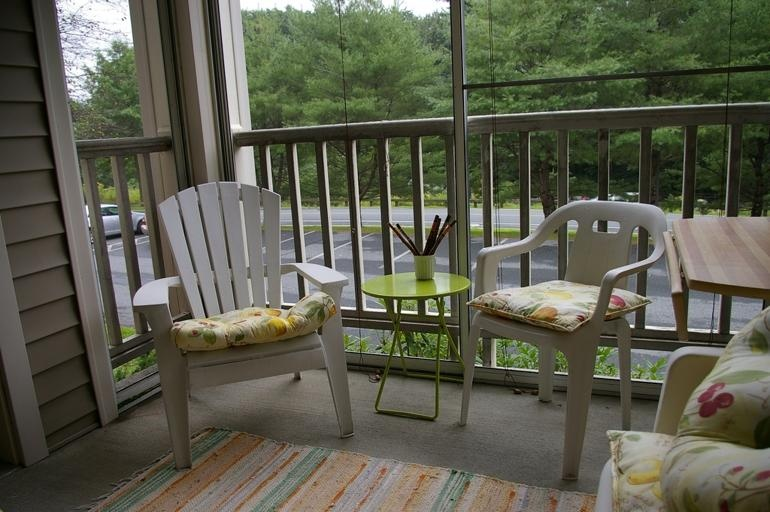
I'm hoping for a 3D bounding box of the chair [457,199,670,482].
[{"bbox_3d":[0.807,0.307,2.527,0.803,1.090,0.859,3,10,23],"label":"chair"}]

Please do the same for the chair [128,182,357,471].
[{"bbox_3d":[-0.715,0.251,2.689,0.914,1.180,0.888,-8,11,-29],"label":"chair"}]

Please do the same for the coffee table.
[{"bbox_3d":[0.177,0.443,2.817,0.528,0.618,0.542,-5,10,2],"label":"coffee table"}]
